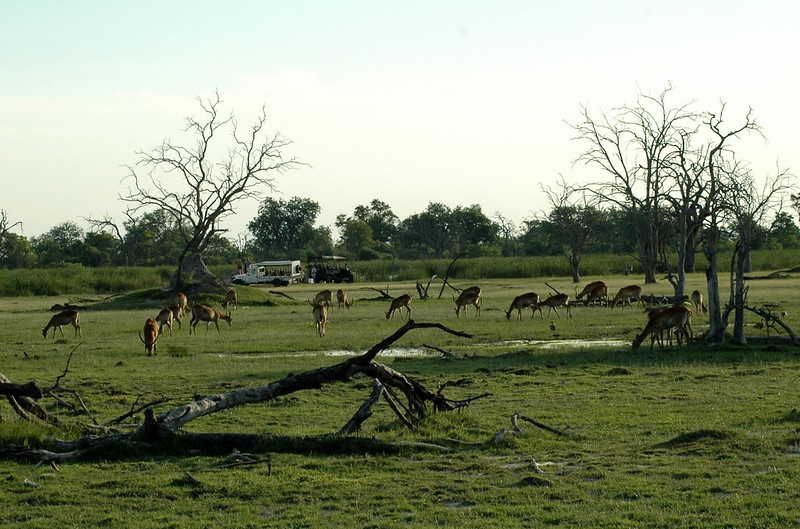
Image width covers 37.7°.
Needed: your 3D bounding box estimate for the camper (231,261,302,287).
[{"bbox_3d":[-9.455,0.723,85.311,3.772,1.484,2.155,0,-2,-22],"label":"camper"}]
